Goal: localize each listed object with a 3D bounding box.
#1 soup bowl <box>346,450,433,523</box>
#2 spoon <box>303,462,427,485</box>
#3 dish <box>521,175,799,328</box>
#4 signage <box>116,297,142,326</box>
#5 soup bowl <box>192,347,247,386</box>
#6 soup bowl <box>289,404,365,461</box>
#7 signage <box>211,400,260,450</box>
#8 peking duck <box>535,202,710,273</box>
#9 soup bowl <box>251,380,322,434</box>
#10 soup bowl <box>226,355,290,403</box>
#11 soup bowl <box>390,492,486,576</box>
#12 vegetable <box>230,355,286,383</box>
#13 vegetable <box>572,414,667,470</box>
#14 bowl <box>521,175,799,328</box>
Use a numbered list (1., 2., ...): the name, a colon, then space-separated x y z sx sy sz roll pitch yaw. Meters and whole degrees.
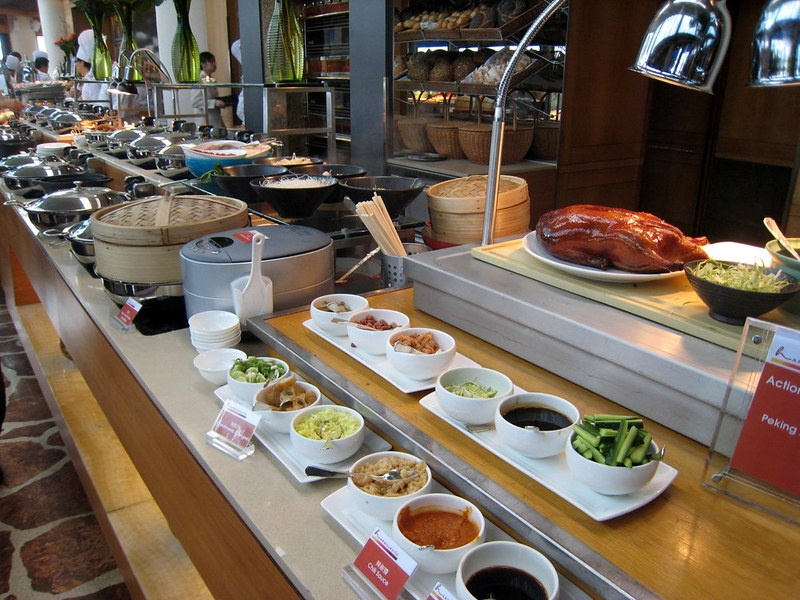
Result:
1. soup bowl: -0.014 0.340 1.031 0.148 0.062 0.132 -6 16 -23
2. spoon: -0.074 0.329 1.053 0.177 0.023 0.080 1 0 -6
3. dish: 0.570 -0.116 1.207 0.255 0.098 0.442 -22 32 -31
4. signage: -0.866 0.036 1.744 0.005 0.082 0.088 21 3 -46
5. soup bowl: -0.476 0.172 1.468 0.123 0.046 0.121 2 24 -1
6. soup bowl: -0.163 0.284 1.186 0.177 0.062 0.148 -2 25 -16
7. signage: -0.371 0.280 1.230 0.124 0.097 0.027 25 -2 23
8. peking duck: 0.511 -0.168 1.282 0.327 0.084 0.195 13 20 40
9. soup bowl: -0.264 0.229 1.253 0.149 0.066 0.139 2 12 0
10. soup bowl: -0.351 0.179 1.359 0.131 0.062 0.130 3 16 -1
11. soup bowl: 0.066 0.401 0.940 0.155 0.064 0.130 -3 22 -15
12. vegetable: -0.358 0.171 1.352 0.088 0.029 0.080 8 13 24
13. vegetable: 0.366 0.227 0.904 0.112 0.047 0.092 2 13 18
14. bowl: 0.572 -0.117 1.192 0.255 0.098 0.442 -22 32 -31
